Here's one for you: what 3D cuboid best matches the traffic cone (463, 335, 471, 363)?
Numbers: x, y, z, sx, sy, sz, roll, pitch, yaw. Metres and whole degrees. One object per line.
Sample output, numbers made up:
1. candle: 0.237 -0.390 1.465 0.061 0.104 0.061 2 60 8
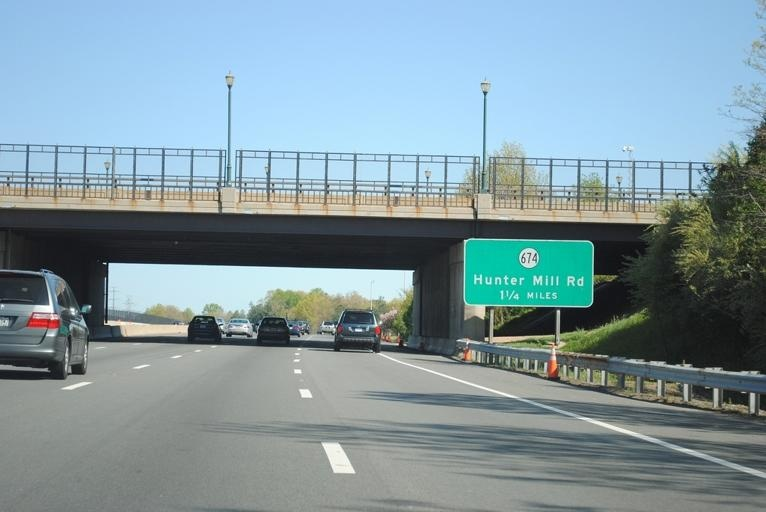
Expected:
1. traffic cone: 3.800 4.262 41.831 0.376 0.914 1.042 0 -5 6
